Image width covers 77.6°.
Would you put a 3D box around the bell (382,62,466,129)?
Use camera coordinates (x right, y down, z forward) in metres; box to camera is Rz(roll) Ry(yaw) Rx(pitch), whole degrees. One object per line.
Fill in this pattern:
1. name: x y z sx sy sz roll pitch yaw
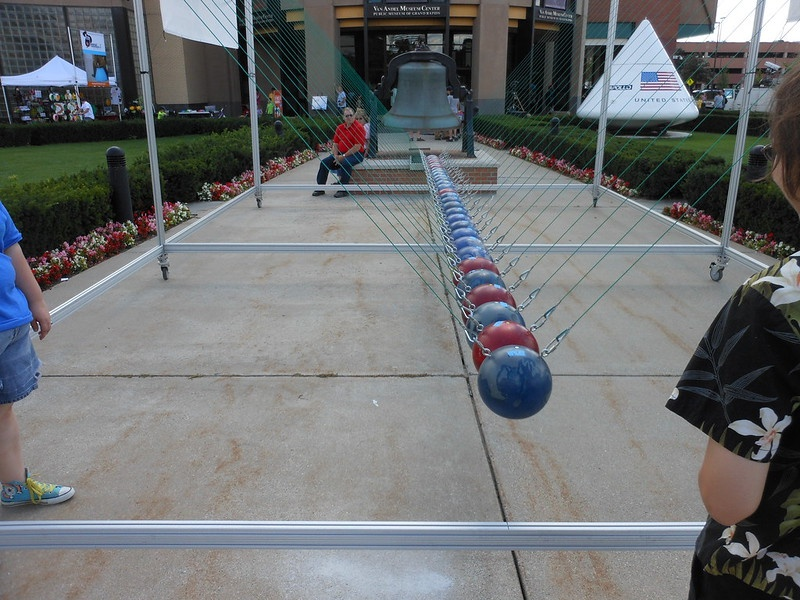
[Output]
1. bell: 0.212 -1.973 4.851 1.072 0.660 1.127 -1 19 -4
